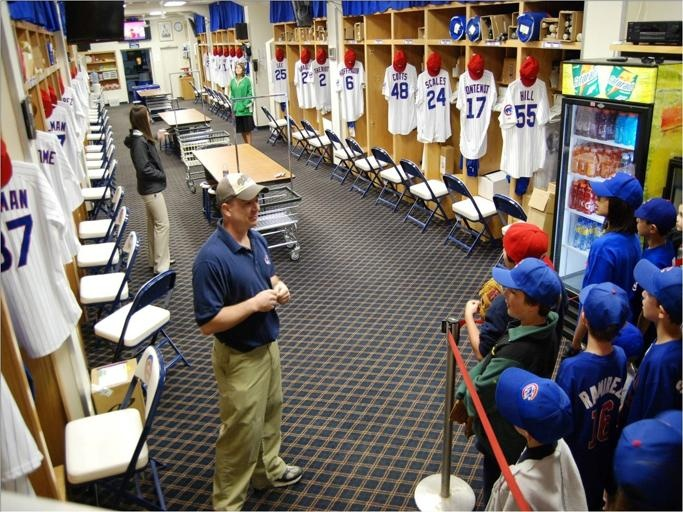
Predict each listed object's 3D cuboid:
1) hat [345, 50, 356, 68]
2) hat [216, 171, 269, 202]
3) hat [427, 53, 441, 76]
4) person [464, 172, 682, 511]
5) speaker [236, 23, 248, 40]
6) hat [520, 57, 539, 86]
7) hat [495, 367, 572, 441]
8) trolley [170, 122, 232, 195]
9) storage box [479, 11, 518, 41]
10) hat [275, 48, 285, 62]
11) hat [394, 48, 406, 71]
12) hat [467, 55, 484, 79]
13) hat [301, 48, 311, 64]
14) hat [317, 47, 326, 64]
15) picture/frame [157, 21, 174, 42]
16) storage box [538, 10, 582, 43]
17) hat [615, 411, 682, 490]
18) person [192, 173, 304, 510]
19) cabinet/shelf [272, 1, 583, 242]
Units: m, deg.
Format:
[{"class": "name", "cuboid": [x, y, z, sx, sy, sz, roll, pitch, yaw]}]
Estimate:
[{"class": "hat", "cuboid": [0.200, -3.950, 9.548, 0.225, 0.366, 0.113, 4, 13, 29]}, {"class": "hat", "cuboid": [-0.633, -0.430, 3.022, 0.253, 0.139, 0.176, -1, 23, 14]}, {"class": "hat", "cuboid": [1.476, -3.088, 7.619, 0.236, 0.372, 0.244, 2, 20, 10]}, {"class": "person", "cuboid": [1.567, 0.317, 3.506, 1.938, 0.511, 1.332, -16, 38, -17]}, {"class": "speaker", "cuboid": [-3.150, -7.187, 15.115, 0.334, 0.475, 0.434, -7, 20, -17]}, {"class": "hat", "cuboid": [2.327, -2.315, 5.930, 0.209, 0.364, 0.251, 5, 20, 19]}, {"class": "hat", "cuboid": [0.887, 0.693, 2.208, 0.234, 0.253, 0.324, -10, 21, -22]}, {"class": "trolley", "cuboid": [-3.343, -2.679, 11.256, 1.033, 1.032, 0.683, -15, 8, -8]}, {"class": "storage box", "cuboid": [2.076, -3.086, 6.399, 0.430, 0.362, 0.436, 4, 20, 15]}, {"class": "hat", "cuboid": [-1.748, -5.776, 13.574, 0.270, 0.410, 0.132, -5, 8, -11]}, {"class": "hat", "cuboid": [1.010, -3.390, 8.236, 0.217, 0.360, 0.156, 1, 3, 9]}, {"class": "hat", "cuboid": [1.910, -2.651, 6.750, 0.215, 0.343, 0.114, 3, -1, 16]}, {"class": "hat", "cuboid": [-0.851, -4.828, 11.426, 0.238, 0.459, 0.240, -1, 15, -2]}, {"class": "hat", "cuboid": [-0.461, -4.693, 11.120, 0.196, 0.347, 0.114, -5, 9, -10]}, {"class": "picture/frame", "cuboid": [-9.772, -12.589, 26.363, 0.084, 1.261, 0.972, 14, 23, 38]}, {"class": "storage box", "cuboid": [2.515, -2.616, 5.420, 0.222, 0.351, 0.721, -5, 20, -11]}, {"class": "hat", "cuboid": [1.195, 0.698, 1.848, 0.196, 0.171, 0.294, -3, 38, 46]}, {"class": "person", "cuboid": [-0.664, 0.645, 3.157, 0.758, 2.287, 0.549, -17, 25, -39]}, {"class": "cabinet/shelf", "cuboid": [1.366, -2.145, 7.627, 0.676, 2.750, 5.226, -18, 29, -28]}]
